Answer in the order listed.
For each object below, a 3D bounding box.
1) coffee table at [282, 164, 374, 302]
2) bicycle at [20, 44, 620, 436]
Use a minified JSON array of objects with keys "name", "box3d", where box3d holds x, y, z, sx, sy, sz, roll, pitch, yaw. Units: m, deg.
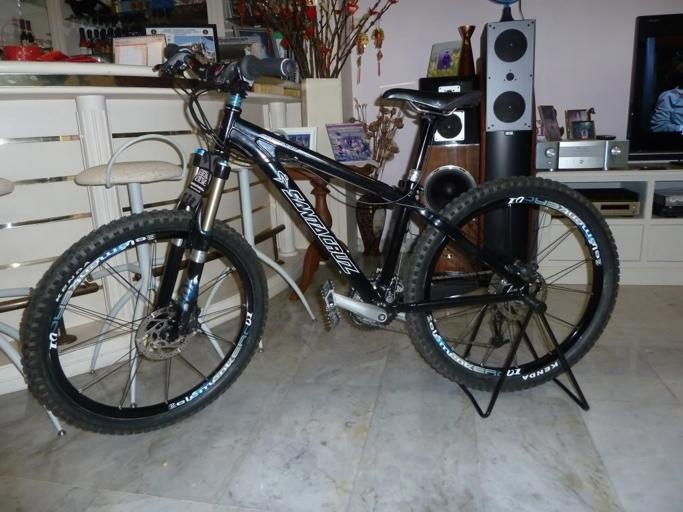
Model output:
[{"name":"coffee table","box3d":[-0.144,-0.146,2.902,0.640,0.845,0.659,2,6,1]},{"name":"bicycle","box3d":[0.013,-0.026,1.977,2.354,1.366,0.964,-5,15,-11]}]
